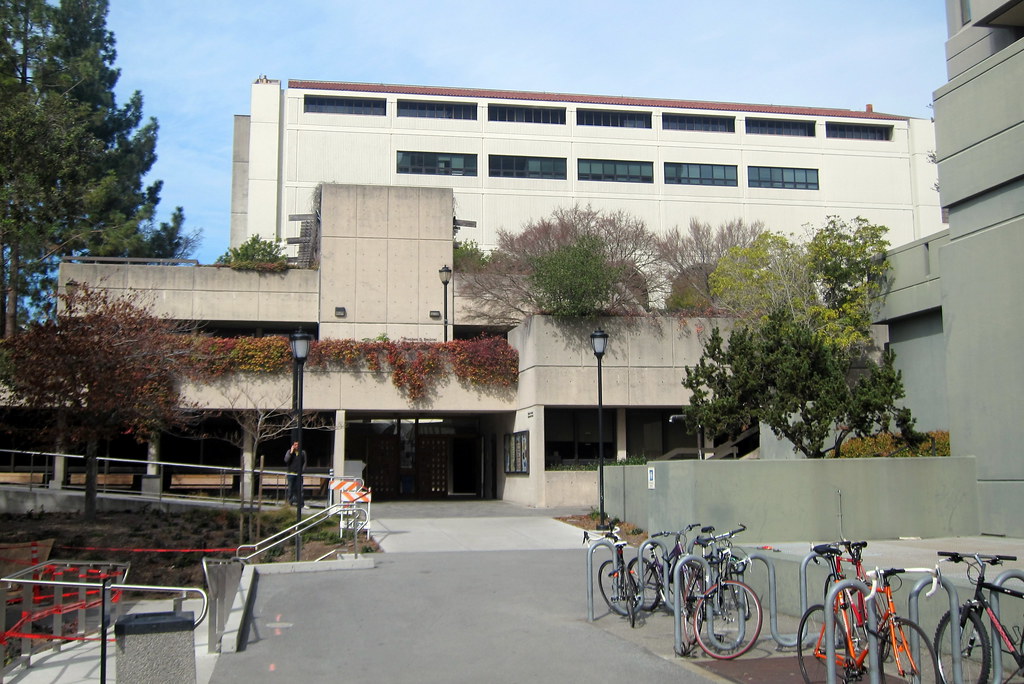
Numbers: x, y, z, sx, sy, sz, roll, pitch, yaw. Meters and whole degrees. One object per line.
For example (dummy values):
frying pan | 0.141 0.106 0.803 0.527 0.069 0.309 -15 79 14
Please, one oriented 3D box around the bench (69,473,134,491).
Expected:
bench | -16.801 5.620 42.137 2.493 0.888 5.033 3 -11 -20

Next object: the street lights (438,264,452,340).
street lights | -2.932 -1.709 44.069 0.607 3.146 0.933 0 -8 -7

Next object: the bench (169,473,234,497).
bench | -13.250 5.971 43.929 3.385 0.954 2.036 -6 -11 27
